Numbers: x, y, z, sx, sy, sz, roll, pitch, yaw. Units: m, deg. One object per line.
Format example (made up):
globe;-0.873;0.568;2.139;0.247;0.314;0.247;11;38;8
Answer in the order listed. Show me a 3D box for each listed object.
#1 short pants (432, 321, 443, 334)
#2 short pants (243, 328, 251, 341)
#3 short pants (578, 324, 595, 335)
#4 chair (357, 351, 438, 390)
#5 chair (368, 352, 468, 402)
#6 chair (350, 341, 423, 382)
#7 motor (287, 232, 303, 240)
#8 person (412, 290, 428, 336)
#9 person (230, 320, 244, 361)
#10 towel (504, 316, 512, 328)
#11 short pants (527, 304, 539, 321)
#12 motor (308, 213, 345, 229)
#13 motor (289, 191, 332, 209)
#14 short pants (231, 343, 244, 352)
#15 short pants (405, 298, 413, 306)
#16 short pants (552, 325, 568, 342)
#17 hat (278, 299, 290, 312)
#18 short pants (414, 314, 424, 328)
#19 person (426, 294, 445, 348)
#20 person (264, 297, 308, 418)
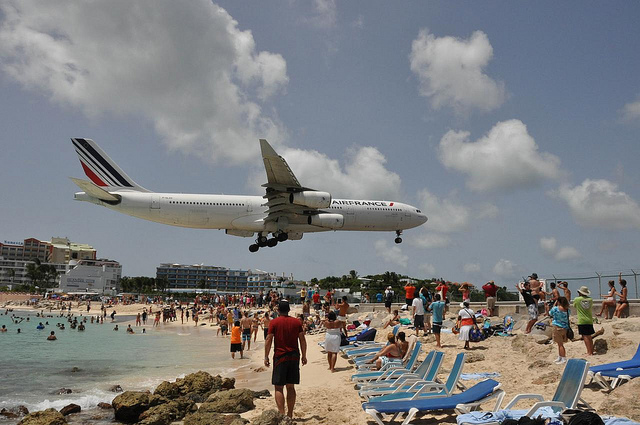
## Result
short pants;4.865;4.805;21.648;0.373;0.470;0.533;-3;-11;12
short pants;-3.882;6.382;27.396;0.326;0.606;0.881;-1;-11;1
short pants;9.454;4.145;18.511;0.641;0.435;0.348;-1;-14;0
chair;2.120;5.078;16.723;3.297;1.342;0.972;-2;-9;-3
chair;2.713;5.118;16.072;3.940;1.480;1.175;-1;-14;0
chair;2.209;5.015;17.396;2.468;1.448;1.124;0;-13;-2
motor;-1.824;1.634;37.336;0.751;0.617;0.606;0;0;-5
person;4.485;4.542;23.390;0.550;1.896;1.605;-3;-11;11
person;-4.249;6.529;26.682;0.660;1.939;1.296;1;-11;-9
towel;8.336;4.869;23.073;0.405;0.650;0.407;0;-6;3
short pants;8.837;4.118;21.590;0.324;0.612;0.465;-4;-11;17
motor;0.341;0.585;35.486;2.147;0.853;1.025;2;-3;-16
motor;-0.673;-0.863;33.652;3.031;1.286;1.444;-1;-23;-14
short pants;-4.252;6.777;26.356;0.709;0.486;0.388;3;0;0
short pants;4.846;4.834;28.190;0.432;0.328;0.449;2;-7;-10
short pants;8.392;4.214;18.162;0.569;0.642;0.382;36;-27;-28
hat;-1.085;2.742;15.446;0.321;0.349;0.370;3;-21;-5
short pants;4.392;4.805;23.041;0.407;0.542;0.570;-2;-11;5
person;4.884;4.523;21.884;0.615;2.198;1.539;-3;-11;11
person;-1.041;4.445;15.792;1.220;3.514;1.597;0;-11;-3
